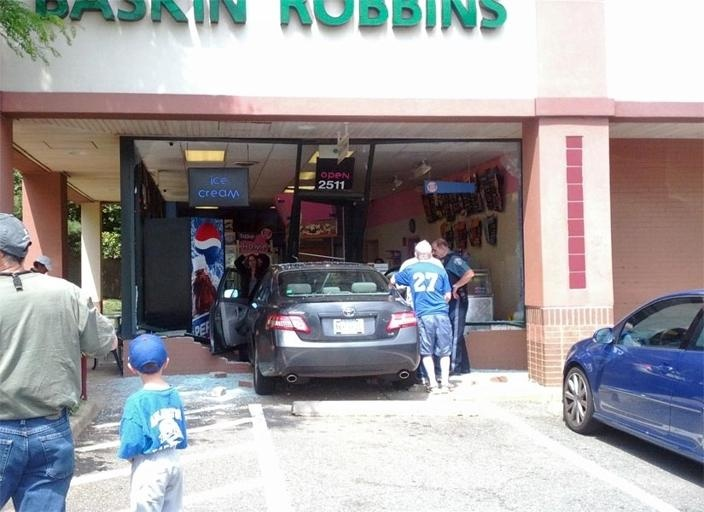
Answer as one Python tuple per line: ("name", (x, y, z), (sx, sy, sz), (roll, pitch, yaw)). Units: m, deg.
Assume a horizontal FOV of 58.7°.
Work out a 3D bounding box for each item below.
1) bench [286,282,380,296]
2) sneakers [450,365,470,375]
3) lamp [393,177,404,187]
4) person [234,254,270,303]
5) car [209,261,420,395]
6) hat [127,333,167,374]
("bench", (-0.357, 0.483, 8.577), (1.171, 0.161, 0.192), (0, 9, -6))
("sneakers", (1.792, 1.897, 10.387), (0.258, 0.080, 0.166), (6, -7, -27))
("lamp", (1.113, -1.797, 15.372), (0.134, 0.165, 0.142), (-13, -13, 29))
("person", (-2.132, 0.448, 13.205), (0.739, 0.408, 1.590), (7, -49, -3))
("car", (-0.288, 1.084, 8.764), (2.408, 1.894, 1.337), (0, 1, 6))
("hat", (-1.330, 0.589, 4.016), (0.193, 0.163, 0.280), (-2, 28, -17))
